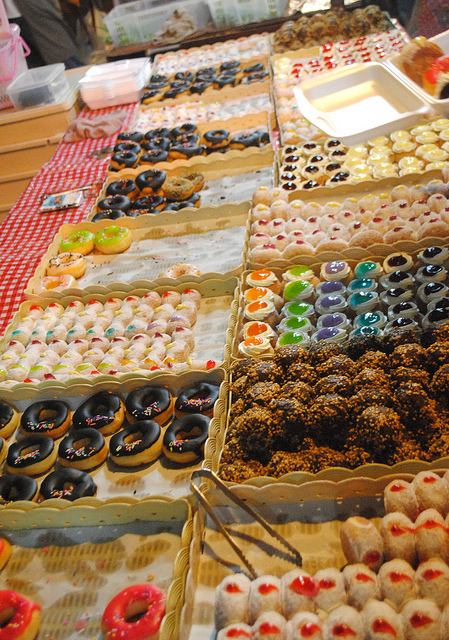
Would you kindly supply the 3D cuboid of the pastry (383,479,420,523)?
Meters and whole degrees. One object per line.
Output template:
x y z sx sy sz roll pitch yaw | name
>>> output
0.614 0.622 1.776 0.101 0.113 0.060 -6 -10 1 | pastry

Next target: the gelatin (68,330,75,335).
-1.036 0.087 3.522 0.032 0.029 0.030 -19 3 9 | gelatin

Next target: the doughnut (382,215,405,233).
1.010 -0.580 3.125 0.116 0.052 0.110 -21 -1 -17 | doughnut

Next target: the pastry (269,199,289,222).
0.384 -0.784 3.779 0.163 0.156 0.155 1 -8 1 | pastry

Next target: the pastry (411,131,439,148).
1.553 -1.389 3.985 0.163 0.048 0.149 -4 36 14 | pastry

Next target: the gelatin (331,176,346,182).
0.856 -1.056 3.892 0.061 0.013 0.056 -14 39 -3 | gelatin

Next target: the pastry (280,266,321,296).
0.441 -0.248 3.084 0.182 0.097 0.168 -6 24 8 | pastry

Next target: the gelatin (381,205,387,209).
1.010 -0.716 3.283 0.037 0.009 0.034 -12 16 -4 | gelatin

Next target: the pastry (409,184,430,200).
1.260 -0.814 3.354 0.115 0.057 0.107 -11 27 -11 | pastry

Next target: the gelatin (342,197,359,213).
0.850 -0.764 3.547 0.119 0.114 0.114 6 47 15 | gelatin

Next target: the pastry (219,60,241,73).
0.067 -3.225 6.577 0.218 0.084 0.207 -7 25 21 | pastry

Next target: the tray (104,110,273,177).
-0.324 -2.081 5.984 1.683 0.332 1.695 -2 18 28 | tray

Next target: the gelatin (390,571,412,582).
0.525 0.772 1.555 0.034 0.007 0.031 -1 5 -12 | gelatin

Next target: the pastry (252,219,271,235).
0.256 -0.643 3.597 0.117 0.101 0.104 -3 12 6 | pastry

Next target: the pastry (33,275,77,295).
-1.333 -0.285 4.087 0.252 0.075 0.214 -3 28 7 | pastry

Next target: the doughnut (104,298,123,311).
-0.795 -0.114 3.721 0.105 0.048 0.095 -14 48 -3 | doughnut

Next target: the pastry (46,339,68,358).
-1.112 0.180 3.477 0.123 0.109 0.115 -8 20 12 | pastry

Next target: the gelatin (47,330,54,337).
-1.204 0.097 3.582 0.049 0.017 0.027 -41 30 -24 | gelatin

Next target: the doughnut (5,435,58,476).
-1.032 0.743 2.772 0.232 0.077 0.221 -16 33 1 | doughnut

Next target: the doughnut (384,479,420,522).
0.619 0.608 1.832 0.093 0.049 0.117 -20 -8 18 | doughnut

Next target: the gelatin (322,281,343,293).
0.586 -0.180 2.842 0.104 0.024 0.097 -24 39 -9 | gelatin

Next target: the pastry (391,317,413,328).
0.832 0.011 2.435 0.057 0.014 0.050 -22 16 -4 | pastry

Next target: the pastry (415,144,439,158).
1.506 -1.253 3.844 0.149 0.041 0.138 -11 33 16 | pastry

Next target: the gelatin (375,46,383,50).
1.653 -2.922 5.560 0.057 0.015 0.056 17 60 42 | gelatin

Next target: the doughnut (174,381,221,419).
-0.136 0.423 2.790 0.214 0.075 0.211 -25 28 -13 | doughnut

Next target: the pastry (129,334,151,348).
-0.549 0.129 3.360 0.101 0.049 0.093 -6 25 8 | pastry

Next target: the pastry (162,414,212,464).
-0.161 0.599 2.671 0.318 0.109 0.293 -14 27 8 | pastry

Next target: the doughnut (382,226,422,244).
1.014 -0.478 3.003 0.135 0.070 0.134 3 8 35 | doughnut

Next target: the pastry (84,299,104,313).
-0.933 -0.100 3.754 0.116 0.063 0.107 8 39 12 | pastry

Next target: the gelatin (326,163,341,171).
0.851 -1.199 4.056 0.068 0.028 0.089 -24 37 -7 | gelatin

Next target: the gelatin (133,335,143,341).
-0.555 0.118 3.341 0.038 0.012 0.036 -15 20 15 | gelatin

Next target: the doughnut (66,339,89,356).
-0.969 0.193 3.453 0.111 0.113 0.068 -12 67 48 | doughnut

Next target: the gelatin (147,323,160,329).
-0.475 0.041 3.440 0.048 0.012 0.048 -30 -1 -30 | gelatin

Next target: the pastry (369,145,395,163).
1.233 -1.321 4.057 0.200 0.053 0.184 -13 31 -10 | pastry

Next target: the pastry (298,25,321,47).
1.021 -3.458 6.310 0.297 0.263 0.074 -18 -13 -7 | pastry

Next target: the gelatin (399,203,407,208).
1.115 -0.714 3.232 0.034 0.010 0.031 -2 43 14 | gelatin

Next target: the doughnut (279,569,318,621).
0.243 0.859 1.664 0.128 0.085 0.157 4 12 -14 | doughnut

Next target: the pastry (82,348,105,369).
-0.840 0.242 3.308 0.119 0.067 0.127 -9 18 -5 | pastry

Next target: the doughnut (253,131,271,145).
0.392 -1.838 5.275 0.159 0.076 0.147 -18 43 -19 | doughnut

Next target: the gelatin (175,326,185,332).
-0.290 0.059 3.342 0.033 0.009 0.032 -13 27 -21 | gelatin

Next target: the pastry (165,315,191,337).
-0.305 0.028 3.463 0.147 0.124 0.134 -7 16 -3 | pastry

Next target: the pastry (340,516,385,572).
0.476 0.754 1.765 0.123 0.152 0.092 -23 -9 31 | pastry

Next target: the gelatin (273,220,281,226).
0.368 -0.668 3.581 0.035 0.041 0.012 4 65 4 | gelatin

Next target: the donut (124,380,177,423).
-0.422 0.475 2.879 0.297 0.097 0.265 -2 34 7 | donut

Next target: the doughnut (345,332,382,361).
0.628 0.119 2.371 0.122 0.073 0.139 -18 5 15 | doughnut

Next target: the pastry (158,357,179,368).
-0.339 0.255 3.124 0.080 0.025 0.075 -21 25 11 | pastry

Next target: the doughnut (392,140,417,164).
1.396 -1.306 4.019 0.194 0.056 0.176 17 76 23 | doughnut
